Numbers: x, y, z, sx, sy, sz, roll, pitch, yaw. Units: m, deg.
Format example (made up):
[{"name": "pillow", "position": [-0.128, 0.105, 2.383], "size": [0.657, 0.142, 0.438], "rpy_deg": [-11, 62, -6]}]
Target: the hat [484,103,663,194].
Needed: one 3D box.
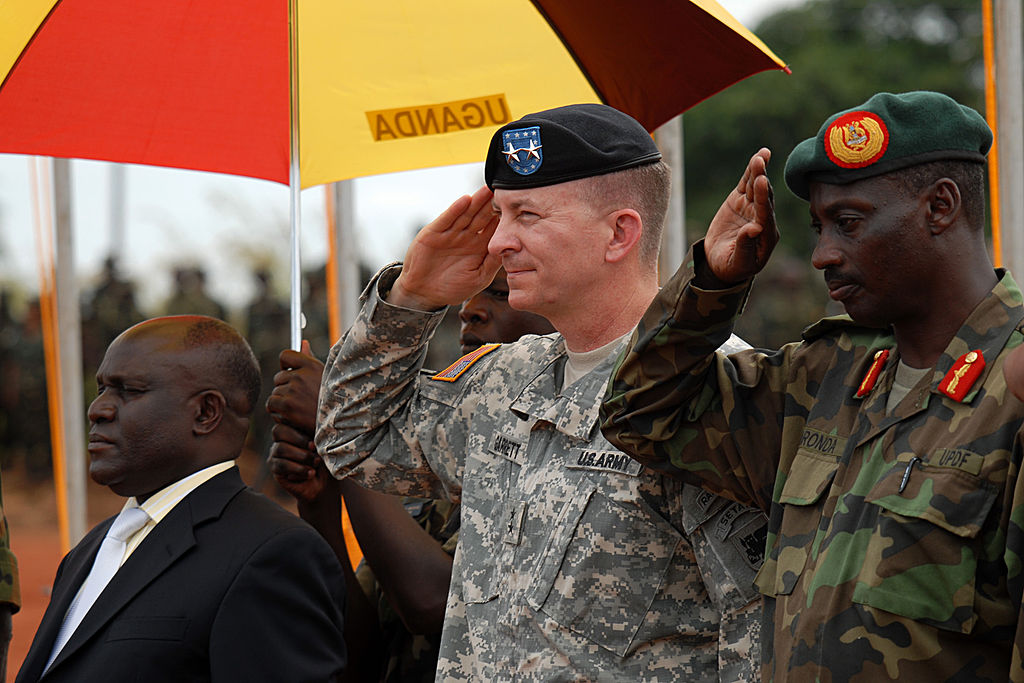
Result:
[{"name": "hat", "position": [0.271, -0.784, 7.002], "size": [0.721, 0.280, 0.646], "rpy_deg": [-13, 9, -36]}]

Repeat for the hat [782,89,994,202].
[{"name": "hat", "position": [1.341, -0.639, 6.304], "size": [0.494, 0.229, 0.394], "rpy_deg": [-8, -5, -1]}]
